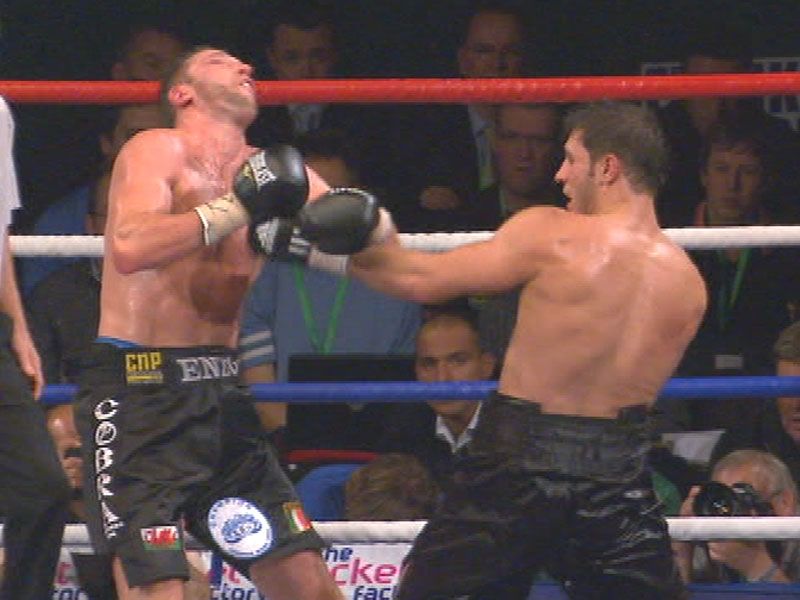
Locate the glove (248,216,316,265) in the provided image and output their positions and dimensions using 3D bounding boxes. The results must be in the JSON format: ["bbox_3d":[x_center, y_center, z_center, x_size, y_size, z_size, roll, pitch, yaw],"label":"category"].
[{"bbox_3d":[-0.379,-0.198,5.007,0.225,0.173,0.137,-7,24,-18],"label":"glove"}]

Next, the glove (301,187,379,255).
[{"bbox_3d":[-0.201,-0.247,5.062,0.273,0.210,0.165,-1,23,-5],"label":"glove"}]
